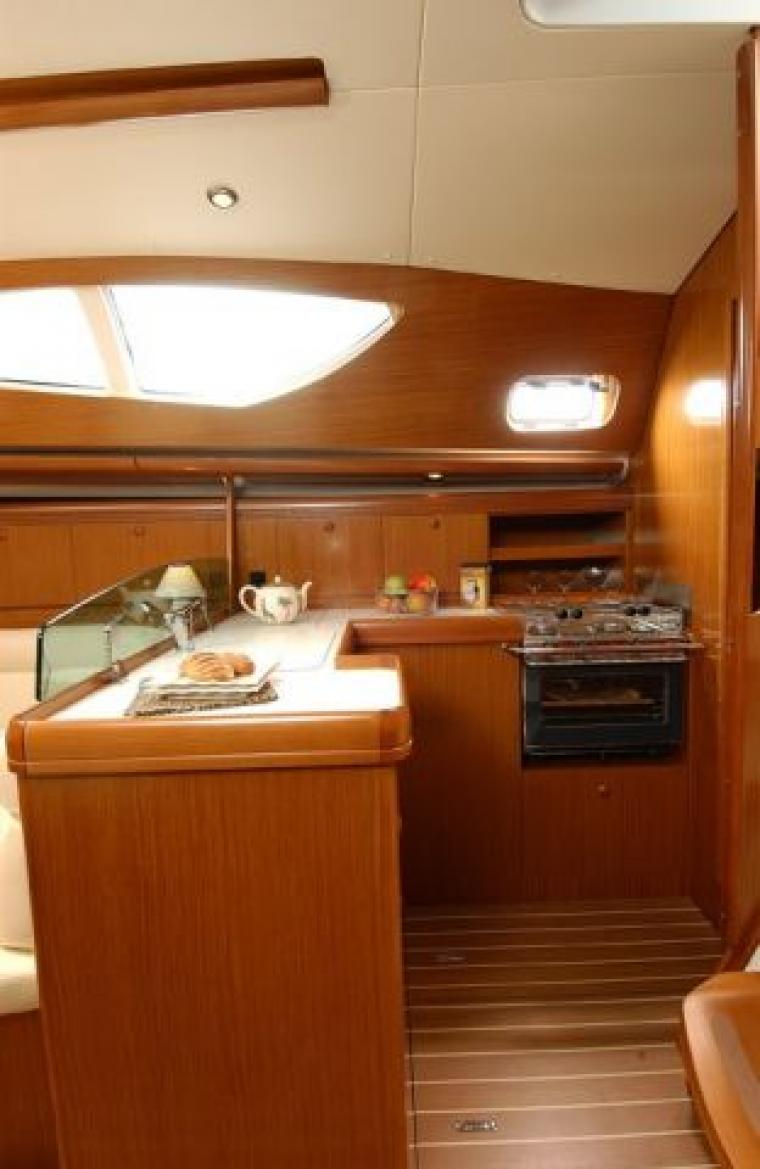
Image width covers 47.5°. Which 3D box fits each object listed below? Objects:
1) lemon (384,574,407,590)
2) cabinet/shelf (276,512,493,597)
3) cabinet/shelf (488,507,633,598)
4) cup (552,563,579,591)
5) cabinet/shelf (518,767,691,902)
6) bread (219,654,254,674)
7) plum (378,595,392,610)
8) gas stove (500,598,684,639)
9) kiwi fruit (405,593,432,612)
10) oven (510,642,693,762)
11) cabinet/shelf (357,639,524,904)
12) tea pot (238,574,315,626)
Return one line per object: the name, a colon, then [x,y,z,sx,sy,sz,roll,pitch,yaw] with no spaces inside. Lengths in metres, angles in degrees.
lemon: [0.047,-0.004,3.086,0.053,0.053,0.054,2,9,14]
cabinet/shelf: [-0.003,-0.115,3.417,0.845,0.350,0.249,-3,8,-8]
cabinet/shelf: [0.831,-0.133,3.634,0.185,0.385,0.571,1,2,40]
cup: [0.729,-0.027,3.418,0.080,0.119,0.071,-17,23,-36]
cabinet/shelf: [0.737,0.810,2.859,0.443,0.368,0.171,-1,0,1]
bread: [-0.299,0.167,1.805,0.046,0.017,0.048,9,-1,8]
plum: [0.011,0.069,3.082,0.053,0.053,0.053,0,-2,-9]
gas stove: [0.744,0.105,3.061,0.548,0.084,0.652,-1,8,5]
kiwi fruit: [0.137,0.072,3.044,0.072,0.074,0.072,9,40,22]
oven: [0.730,0.372,2.967,0.569,0.415,0.394,-1,4,-4]
cabinet/shelf: [0.294,0.479,3.061,0.436,0.705,0.468,-3,4,34]
tea pot: [-0.358,0.063,2.840,0.200,0.155,0.199,-1,8,0]
